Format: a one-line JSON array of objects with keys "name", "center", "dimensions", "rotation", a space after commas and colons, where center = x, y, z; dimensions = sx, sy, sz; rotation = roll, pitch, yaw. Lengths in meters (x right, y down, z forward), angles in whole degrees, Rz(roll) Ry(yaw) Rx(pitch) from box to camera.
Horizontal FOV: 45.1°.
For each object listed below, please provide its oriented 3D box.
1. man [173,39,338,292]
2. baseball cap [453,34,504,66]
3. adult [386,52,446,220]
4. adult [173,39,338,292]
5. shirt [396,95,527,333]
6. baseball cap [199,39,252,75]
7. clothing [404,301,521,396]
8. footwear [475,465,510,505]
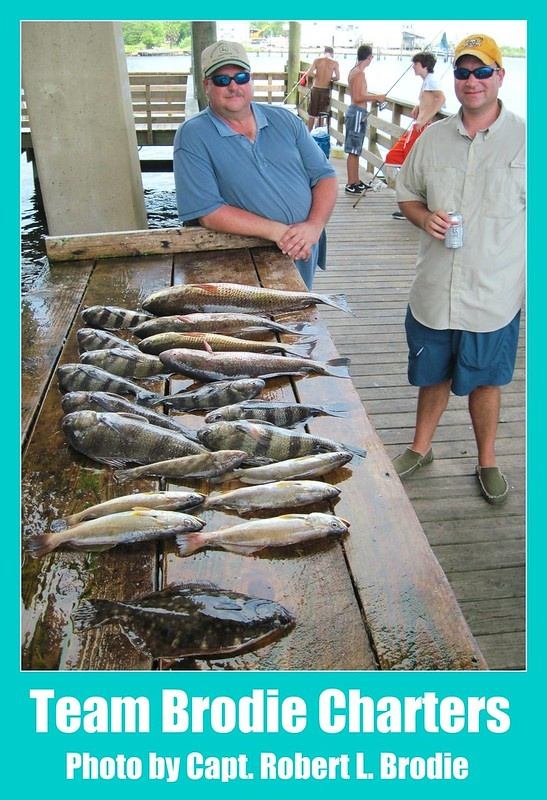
[{"name": "man", "center": [-0.078, -1.270, 3.374], "dimensions": [0.873, 1.015, 0.567], "rotation": [-7, 30, -6]}, {"name": "baseball cap", "center": [0.847, -1.450, 2.751], "dimensions": [0.134, 0.090, 0.185], "rotation": [11, 26, 25]}, {"name": "adult", "center": [1.635, -3.125, 7.599], "dimensions": [0.739, 1.549, 0.563], "rotation": [8, 18, 23]}, {"name": "adult", "center": [-0.079, -1.271, 3.374], "dimensions": [0.872, 1.015, 0.566], "rotation": [-7, 30, -6]}, {"name": "shirt", "center": [0.896, -0.837, 3.105], "dimensions": [0.610, 1.000, 0.371], "rotation": [8, 32, 20]}, {"name": "baseball cap", "center": [-0.231, -1.653, 3.184], "dimensions": [0.232, 0.156, 0.201], "rotation": [-4, 29, -2]}, {"name": "clothing", "center": [0.939, -0.266, 3.422], "dimensions": [0.495, 0.428, 0.284], "rotation": [6, 16, 34]}, {"name": "footwear", "center": [1.154, 0.450, 3.468], "dimensions": [0.108, 0.092, 0.236], "rotation": [-9, 35, 3]}]
